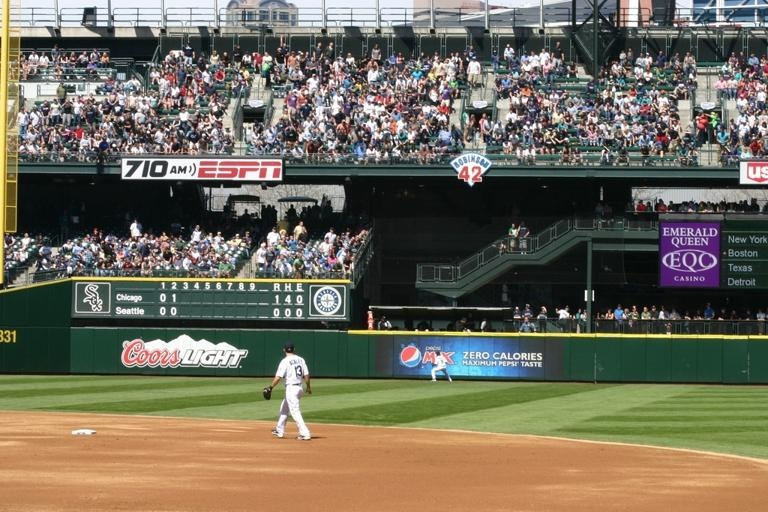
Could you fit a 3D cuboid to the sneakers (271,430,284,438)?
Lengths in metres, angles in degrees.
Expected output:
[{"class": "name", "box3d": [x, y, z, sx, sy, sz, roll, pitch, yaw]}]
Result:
[{"class": "sneakers", "box3d": [-3.947, 6.552, 70.681, 0.500, 0.234, 0.192, 7, 4, 33]}]

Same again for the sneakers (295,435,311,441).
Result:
[{"class": "sneakers", "box3d": [-2.956, 6.670, 70.424, 0.554, 0.289, 0.197, 4, 1, 8]}]

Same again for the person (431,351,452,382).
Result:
[{"class": "person", "box3d": [2.518, 4.871, 84.644, 0.832, 1.234, 1.041, 10, 17, 32]}]
